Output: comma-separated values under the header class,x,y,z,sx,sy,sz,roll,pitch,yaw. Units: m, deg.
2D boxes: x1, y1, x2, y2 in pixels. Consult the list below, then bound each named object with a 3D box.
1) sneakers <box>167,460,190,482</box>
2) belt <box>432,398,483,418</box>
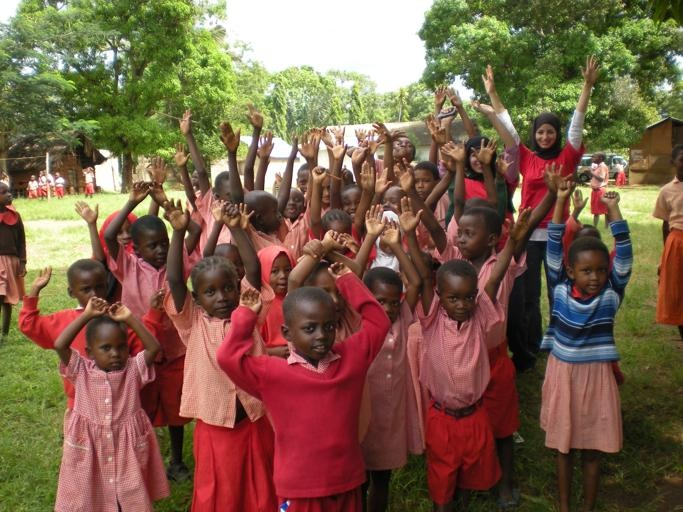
class,x,y,z,sx,sy,sz,roll,pitch,yaw
sneakers,-1.404,1.873,5.186,0.186,0.119,0.192,3,38,-2
belt,0.899,1.193,4.672,0.391,0.124,0.121,-1,2,10
